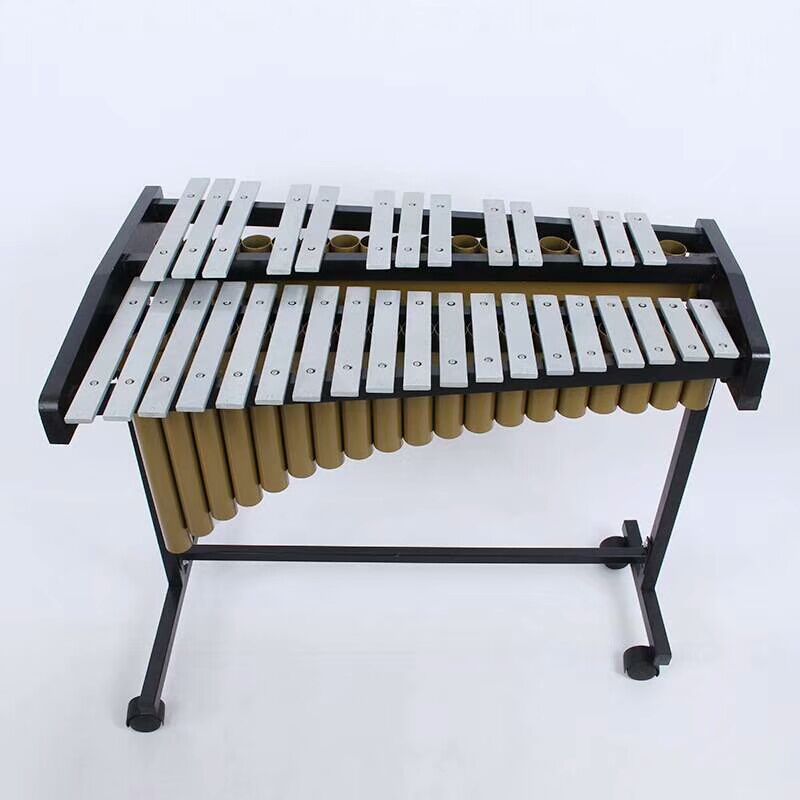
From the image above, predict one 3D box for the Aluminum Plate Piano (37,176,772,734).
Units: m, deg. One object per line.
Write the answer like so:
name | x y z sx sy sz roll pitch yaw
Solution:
Aluminum Plate Piano | -0.034 0.432 3.144 2.509 1.342 2.207 0 -46 0
